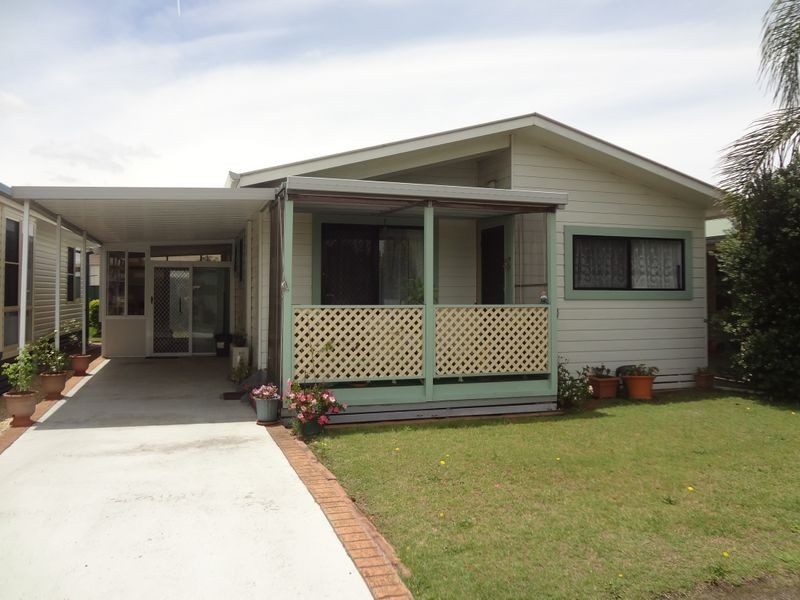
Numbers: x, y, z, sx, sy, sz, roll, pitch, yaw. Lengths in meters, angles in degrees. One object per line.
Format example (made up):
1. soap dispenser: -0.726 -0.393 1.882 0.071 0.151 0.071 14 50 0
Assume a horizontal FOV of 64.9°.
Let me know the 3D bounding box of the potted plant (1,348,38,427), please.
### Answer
1. potted plant: -5.534 1.275 9.220 0.428 1.106 0.762 -5 10 -31

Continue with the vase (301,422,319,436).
1. vase: -1.253 1.816 8.848 0.196 0.137 0.200 -9 -13 39

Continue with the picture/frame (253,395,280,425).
1. picture/frame: -1.964 1.636 9.405 0.376 0.398 0.227 -1 9 -13

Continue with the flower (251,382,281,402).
1. flower: -2.028 1.423 9.634 0.462 0.194 0.461 3 -4 -9

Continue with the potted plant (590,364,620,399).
1. potted plant: 3.947 1.531 11.918 0.571 0.750 0.623 0 1 -7

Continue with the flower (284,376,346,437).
1. flower: -1.212 1.527 8.981 0.789 0.721 0.709 2 -6 -13

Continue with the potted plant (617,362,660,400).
1. potted plant: 4.573 1.644 12.057 0.635 0.450 0.647 -2 0 20
